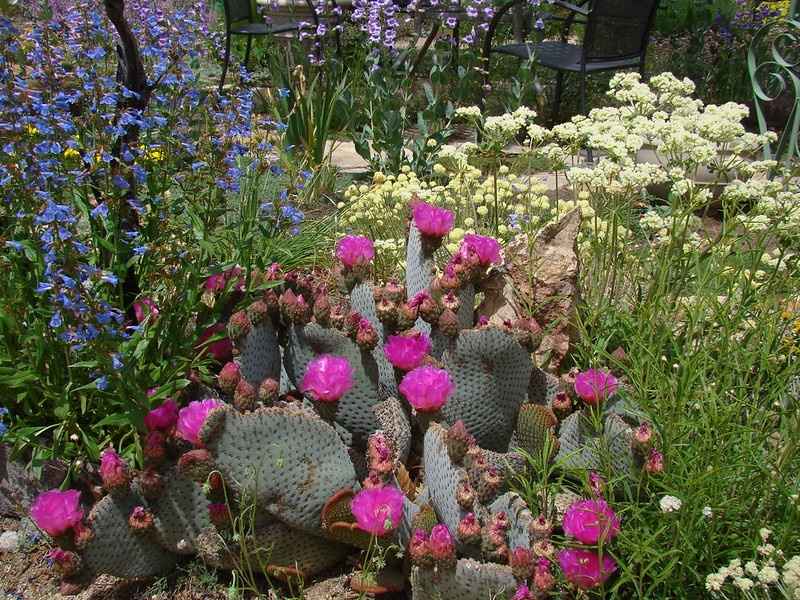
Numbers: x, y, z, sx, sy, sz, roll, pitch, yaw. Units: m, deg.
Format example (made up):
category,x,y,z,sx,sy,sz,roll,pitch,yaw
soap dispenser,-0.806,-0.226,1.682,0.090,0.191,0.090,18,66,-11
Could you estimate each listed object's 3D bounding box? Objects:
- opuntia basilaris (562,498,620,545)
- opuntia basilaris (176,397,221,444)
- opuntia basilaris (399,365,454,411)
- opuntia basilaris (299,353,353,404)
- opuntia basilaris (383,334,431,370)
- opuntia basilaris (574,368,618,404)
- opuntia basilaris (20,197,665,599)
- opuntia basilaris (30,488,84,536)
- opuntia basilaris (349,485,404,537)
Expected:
category,x,y,z,sx,sy,sz,roll,pitch,yaw
opuntia basilaris,0.514,0.591,1.792,0.129,0.100,0.141,1,27,13
opuntia basilaris,-0.595,0.344,2.006,0.117,0.136,0.083,-30,45,5
opuntia basilaris,0.070,0.245,1.938,0.122,0.125,0.128,-3,21,4
opuntia basilaris,-0.226,0.256,2.050,0.152,0.170,0.105,4,29,3
opuntia basilaris,0.028,0.153,2.117,0.109,0.112,0.116,-3,13,-7
opuntia basilaris,0.613,0.263,2.049,0.116,0.116,0.120,-3,3,-24
opuntia basilaris,-0.118,0.408,2.078,1.584,0.807,1.210,-15,26,-26
opuntia basilaris,-0.961,0.592,1.903,0.133,0.105,0.128,-15,8,40
opuntia basilaris,-0.056,0.570,1.890,0.131,0.143,0.123,-3,-1,-33
